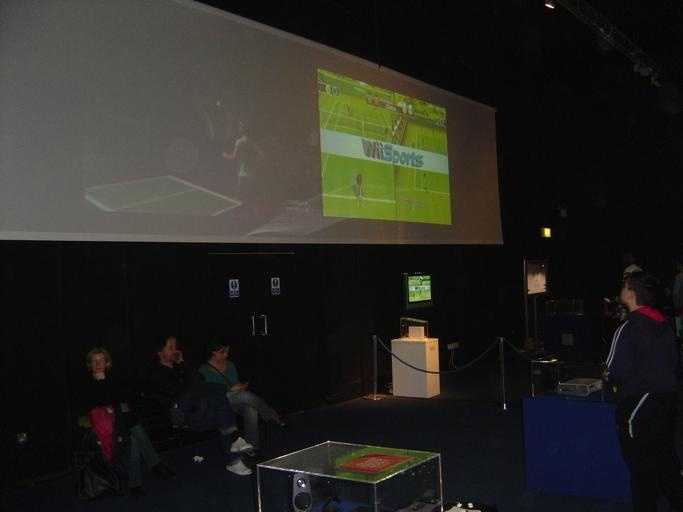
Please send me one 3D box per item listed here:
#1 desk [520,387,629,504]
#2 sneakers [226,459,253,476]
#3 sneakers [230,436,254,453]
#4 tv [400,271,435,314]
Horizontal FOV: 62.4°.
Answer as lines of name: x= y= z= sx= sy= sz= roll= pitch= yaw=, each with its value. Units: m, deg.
desk: x=2.143 y=1.653 z=5.212 sx=0.852 sy=0.898 sz=0.644 roll=-3 pitch=6 yaw=20
sneakers: x=-1.073 y=2.238 z=5.965 sx=0.281 sy=0.139 sz=0.135 roll=0 pitch=-1 yaw=23
sneakers: x=-1.109 y=2.122 z=6.306 sx=0.208 sy=0.119 sz=0.147 roll=-2 pitch=-1 yaw=7
tv: x=1.306 y=0.650 z=9.977 sx=0.737 sy=0.726 sz=0.120 roll=2 pitch=-2 yaw=-45
